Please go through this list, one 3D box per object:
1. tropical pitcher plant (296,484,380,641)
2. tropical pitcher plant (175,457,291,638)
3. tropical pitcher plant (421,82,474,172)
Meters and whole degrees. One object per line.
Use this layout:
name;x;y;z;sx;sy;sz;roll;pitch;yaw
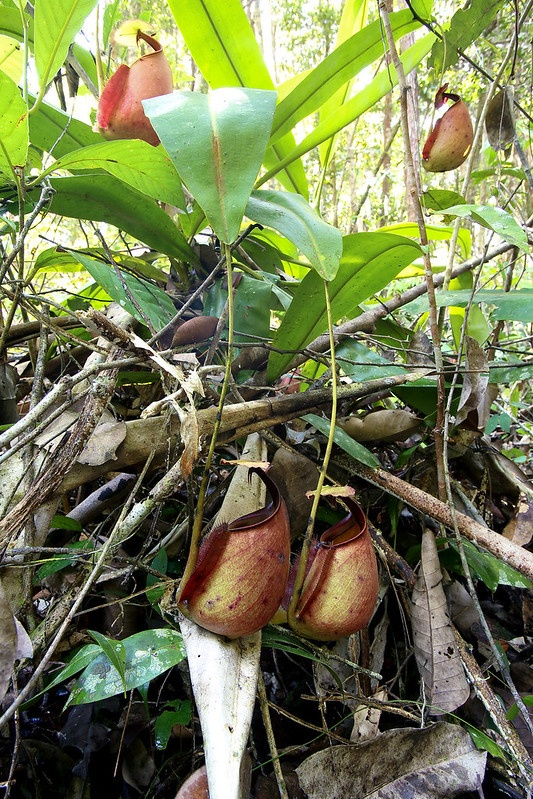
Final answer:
tropical pitcher plant;0.087;0.230;0.812;0.122;0.183;0.094;1;7;-20
tropical pitcher plant;-0.028;0.211;0.794;0.120;0.230;0.179;13;26;13
tropical pitcher plant;0.383;-0.570;1.289;0.095;0.178;0.108;9;18;19
